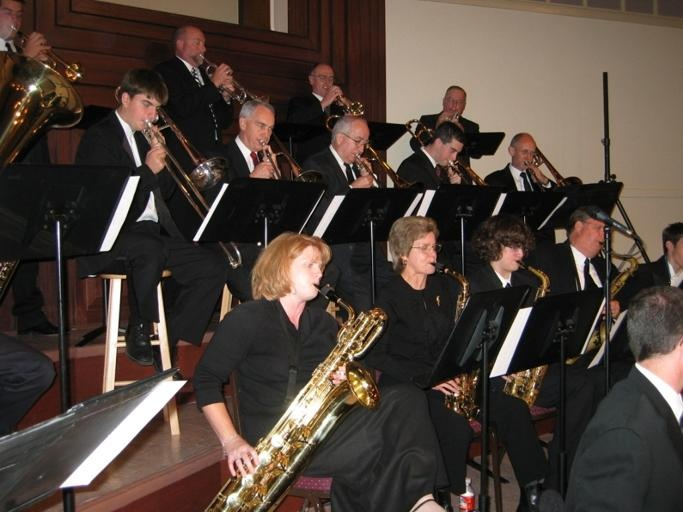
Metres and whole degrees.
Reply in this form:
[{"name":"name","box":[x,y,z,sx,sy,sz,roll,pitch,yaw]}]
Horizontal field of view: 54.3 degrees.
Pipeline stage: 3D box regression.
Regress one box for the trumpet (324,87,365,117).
[{"name":"trumpet","box":[0.072,-1.547,6.730,0.183,0.230,0.634,25,9,-12]}]

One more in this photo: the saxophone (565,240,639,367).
[{"name":"saxophone","box":[2.080,0.312,5.100,0.448,1.064,0.518,9,11,43]}]

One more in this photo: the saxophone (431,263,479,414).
[{"name":"saxophone","box":[0.828,0.569,4.712,0.360,1.002,0.367,4,12,14]}]

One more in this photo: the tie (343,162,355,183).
[{"name":"tie","box":[0.076,-0.724,5.904,0.053,0.255,0.069,-21,-28,21]}]

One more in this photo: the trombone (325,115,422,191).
[{"name":"trombone","box":[0.209,-1.156,6.216,0.466,0.538,1.284,-35,35,-2]}]

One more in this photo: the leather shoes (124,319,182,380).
[{"name":"leather shoes","box":[-1.331,0.654,4.614,0.217,0.285,0.236,-2,12,-33]}]

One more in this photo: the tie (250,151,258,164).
[{"name":"tie","box":[-0.725,-0.813,5.575,0.086,0.109,0.057,2,5,-34]}]

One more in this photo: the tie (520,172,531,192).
[{"name":"tie","box":[2.078,-0.834,7.434,0.142,0.196,0.091,7,5,24]}]
